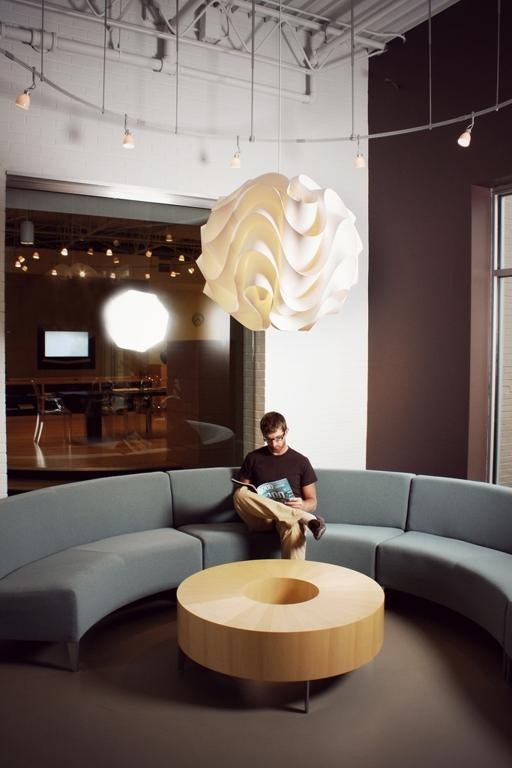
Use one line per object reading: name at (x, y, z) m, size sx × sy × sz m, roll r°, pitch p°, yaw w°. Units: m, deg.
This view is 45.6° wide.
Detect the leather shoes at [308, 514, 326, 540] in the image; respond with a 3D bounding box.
leather shoes at (0.348, 0.823, 3.445) m, size 0.056 × 0.062 × 0.162 m, roll 2°, pitch 5°, yaw -10°

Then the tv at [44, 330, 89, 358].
tv at (-1.414, -0.292, 4.557) m, size 0.324 × 0.200 × 0.081 m, roll 1°, pitch -2°, yaw -24°

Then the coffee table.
coffee table at (0.084, 1.059, 2.574) m, size 0.878 × 0.359 × 0.795 m, roll 0°, pitch -2°, yaw 12°

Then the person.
person at (0.128, 0.735, 3.676) m, size 0.547 × 1.128 × 0.668 m, roll 1°, pitch -4°, yaw -14°
